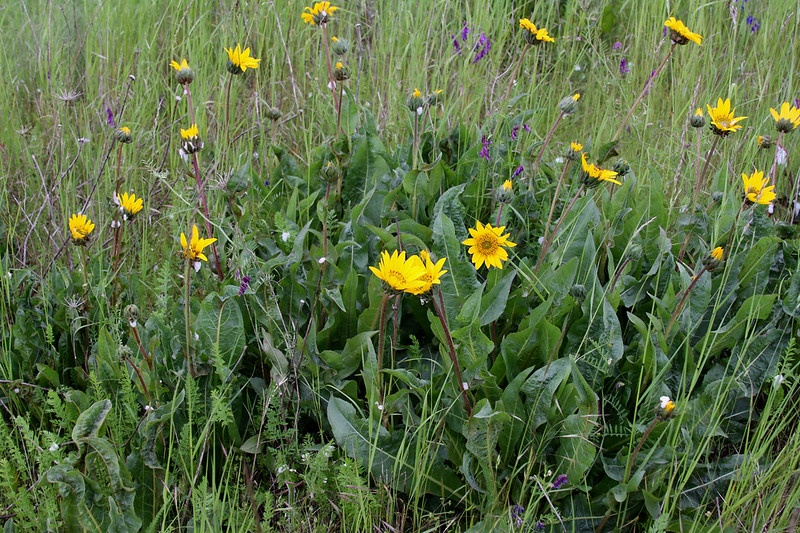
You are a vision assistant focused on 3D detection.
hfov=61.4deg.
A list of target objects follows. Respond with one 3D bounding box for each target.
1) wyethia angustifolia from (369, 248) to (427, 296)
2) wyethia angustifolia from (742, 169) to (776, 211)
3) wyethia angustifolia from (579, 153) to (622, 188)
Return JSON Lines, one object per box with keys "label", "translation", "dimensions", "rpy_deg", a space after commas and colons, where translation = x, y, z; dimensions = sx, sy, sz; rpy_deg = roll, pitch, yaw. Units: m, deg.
{"label": "wyethia angustifolia", "translation": [0.004, 0.002, 2.192], "dimensions": [0.169, 0.141, 0.175], "rpy_deg": [2, 40, 4]}
{"label": "wyethia angustifolia", "translation": [1.401, -0.307, 2.649], "dimensions": [0.122, 0.139, 0.059], "rpy_deg": [41, 16, 29]}
{"label": "wyethia angustifolia", "translation": [0.778, -0.344, 2.616], "dimensions": [0.146, 0.095, 0.176], "rpy_deg": [13, 29, -8]}
